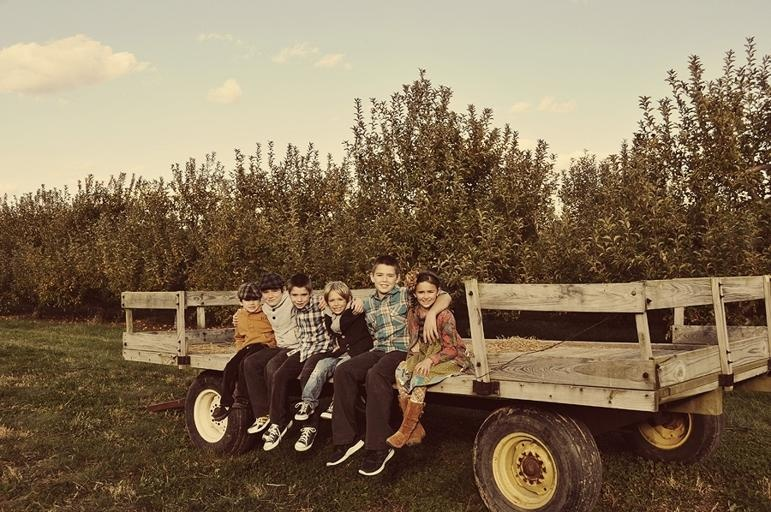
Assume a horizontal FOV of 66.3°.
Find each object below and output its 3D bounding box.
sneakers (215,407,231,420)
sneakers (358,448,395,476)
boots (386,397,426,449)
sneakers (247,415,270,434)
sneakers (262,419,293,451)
[{"bbox_3d":[-2.221,2.163,8.136,0.206,0.097,0.173,-18,-4,16],"label":"sneakers"},{"bbox_3d":[-0.027,2.481,7.171,0.238,0.288,0.678,-3,-5,26],"label":"sneakers"},{"bbox_3d":[0.337,2.006,7.083,0.363,0.677,0.584,2,7,35],"label":"boots"},{"bbox_3d":[-1.649,2.268,7.833,0.165,0.153,0.406,-2,7,23],"label":"sneakers"},{"bbox_3d":[-1.394,2.332,7.739,0.210,0.300,0.657,-4,-1,12],"label":"sneakers"}]
